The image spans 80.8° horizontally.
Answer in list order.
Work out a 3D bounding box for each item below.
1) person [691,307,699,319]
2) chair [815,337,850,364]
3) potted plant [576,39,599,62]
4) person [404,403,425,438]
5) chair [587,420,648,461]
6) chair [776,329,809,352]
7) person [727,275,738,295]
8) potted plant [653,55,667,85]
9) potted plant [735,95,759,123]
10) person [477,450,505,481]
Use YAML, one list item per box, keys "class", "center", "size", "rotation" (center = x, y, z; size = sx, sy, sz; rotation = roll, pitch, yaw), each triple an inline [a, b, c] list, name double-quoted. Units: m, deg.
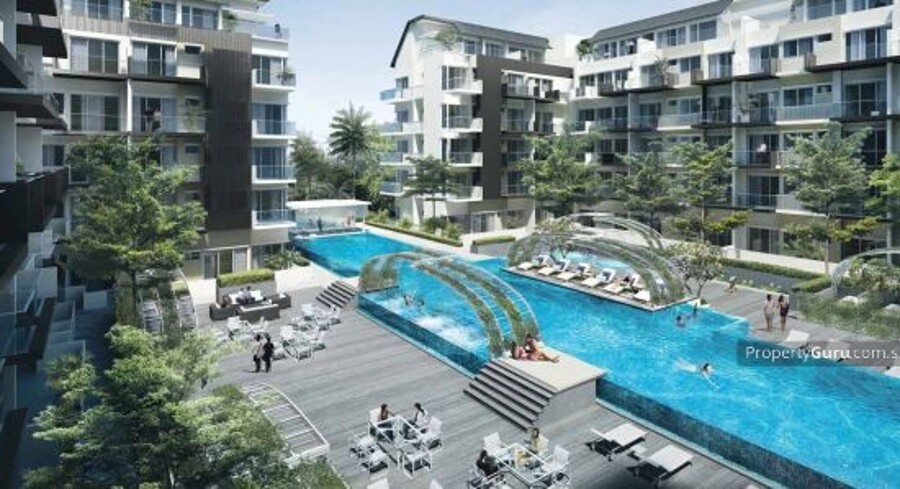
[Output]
- class: "person"
  center: [19.579, 5.278, 42.269]
  size: [0.550, 0.869, 1.469]
  rotation: [1, 11, 28]
- class: "chair"
  center: [26.643, 7.568, 36.640]
  size: [2.324, 0.863, 1.328]
  rotation: [-22, 22, -34]
- class: "potted plant"
  center: [18.395, -26.394, 71.729]
  size: [2.911, 2.937, 2.735]
  rotation: [-18, 30, -16]
- class: "person"
  center: [-2.168, 10.309, 30.976]
  size: [1.294, 1.963, 0.889]
  rotation: [2, 3, -4]
- class: "chair"
  center: [9.717, 11.203, 30.290]
  size: [3.153, 1.140, 1.681]
  rotation: [-22, 29, -30]
- class: "chair"
  center: [24.631, 7.017, 37.774]
  size: [2.272, 0.893, 1.258]
  rotation: [-12, 13, -36]
- class: "person"
  center: [25.634, 3.589, 47.956]
  size: [0.506, 1.422, 1.706]
  rotation: [1, 11, 28]
- class: "potted plant"
  center: [24.606, -20.279, 61.422]
  size: [1.229, 3.319, 2.054]
  rotation: [-2, 11, 15]
- class: "potted plant"
  center: [30.784, -14.255, 55.997]
  size: [3.091, 2.865, 2.896]
  rotation: [3, 7, 31]
- class: "person"
  center: [2.113, 11.870, 28.659]
  size: [1.147, 1.667, 1.462]
  rotation: [1, 11, 26]
